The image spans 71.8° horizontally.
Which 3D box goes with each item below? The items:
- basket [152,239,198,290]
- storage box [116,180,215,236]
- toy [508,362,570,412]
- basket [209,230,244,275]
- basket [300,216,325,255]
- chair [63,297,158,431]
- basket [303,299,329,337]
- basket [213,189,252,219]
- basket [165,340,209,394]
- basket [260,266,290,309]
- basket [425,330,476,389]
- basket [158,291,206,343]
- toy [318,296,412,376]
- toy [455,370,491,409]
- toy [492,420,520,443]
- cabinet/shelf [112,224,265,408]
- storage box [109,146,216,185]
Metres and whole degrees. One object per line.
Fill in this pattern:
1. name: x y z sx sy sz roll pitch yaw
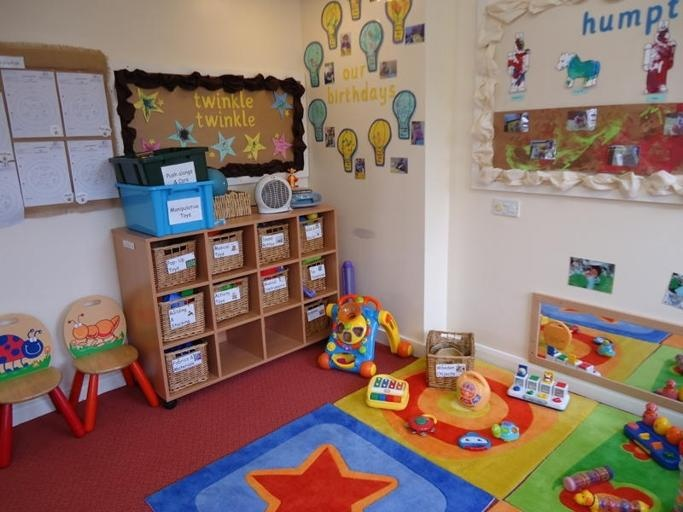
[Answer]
1. basket: -1.045 0.055 2.957 0.154 0.265 0.258 10 16 39
2. storage box: -1.104 -0.335 2.964 0.360 0.267 0.467 -14 20 -41
3. toy: 1.215 0.822 2.926 0.306 0.185 0.225 10 19 34
4. basket: -0.847 -0.040 3.285 0.249 0.260 0.251 -12 15 -42
5. basket: -0.233 -0.160 3.562 0.161 0.249 0.238 7 15 39
6. chair: -1.473 0.672 2.999 0.552 0.822 0.540 -13 20 -43
7. basket: -0.209 0.471 3.654 0.168 0.235 0.234 10 19 36
8. basket: -0.770 -0.374 3.268 0.195 0.125 0.197 -10 14 -38
9. basket: -1.011 0.712 3.049 0.179 0.322 0.311 5 13 37
10. basket: -0.480 0.226 3.410 0.183 0.194 0.261 -8 10 -33
11. basket: 0.738 0.654 3.200 0.336 0.273 0.346 2 12 13
12. basket: -1.025 0.380 2.989 0.159 0.291 0.278 7 13 40
13. toy: 0.179 0.512 3.488 0.688 0.540 0.520 8 11 31
14. toy: 0.796 0.826 2.908 0.199 0.226 0.113 3 3 34
15. toy: 0.932 0.991 2.676 0.099 0.042 0.099 -15 23 -27
16. cabinet/shelf: -1.035 0.376 3.074 0.563 1.141 0.843 11 21 41
17. storage box: -1.121 -0.554 2.902 0.585 0.212 0.391 -6 19 -17
